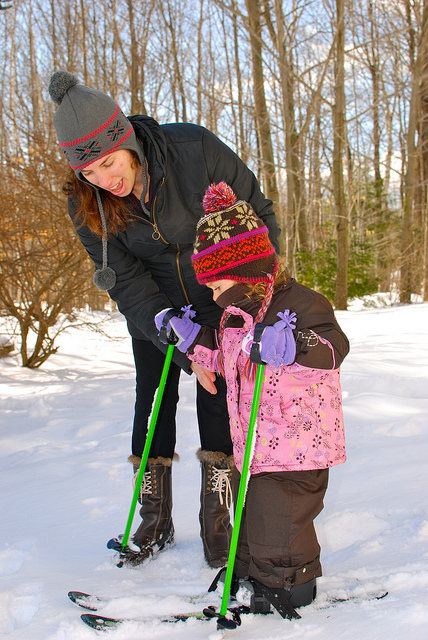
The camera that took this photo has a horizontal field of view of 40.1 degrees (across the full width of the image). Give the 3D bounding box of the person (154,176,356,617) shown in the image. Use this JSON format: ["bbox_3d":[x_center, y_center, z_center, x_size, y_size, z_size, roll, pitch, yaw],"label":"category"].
[{"bbox_3d":[0.138,0.191,2.143,0.635,1.493,0.690,0,1,3],"label":"person"}]
